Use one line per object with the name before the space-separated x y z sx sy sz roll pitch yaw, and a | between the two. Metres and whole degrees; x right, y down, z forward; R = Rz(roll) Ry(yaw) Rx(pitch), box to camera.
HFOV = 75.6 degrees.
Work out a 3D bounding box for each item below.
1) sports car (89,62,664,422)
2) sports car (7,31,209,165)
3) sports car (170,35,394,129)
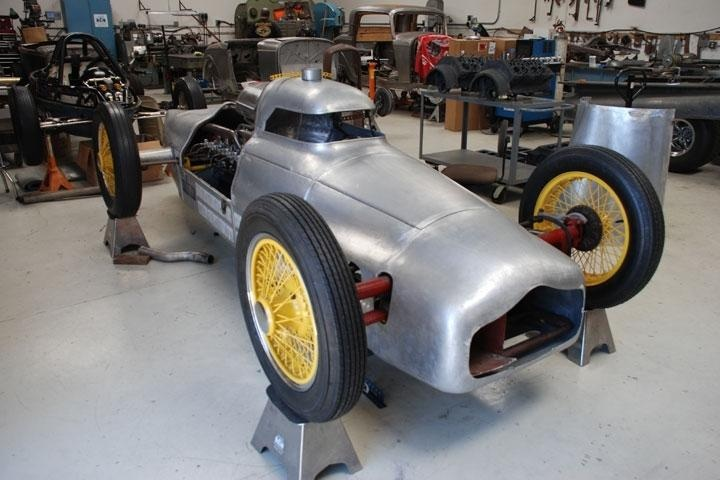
sports car | 0.030 0.010 3.325 1.629 1.176 2.884 -9 28 -33
sports car | -3.743 -1.724 6.101 1.577 1.301 2.557 -14 29 -29
sports car | -1.447 -3.311 8.815 4.014 1.919 2.589 11 20 22
